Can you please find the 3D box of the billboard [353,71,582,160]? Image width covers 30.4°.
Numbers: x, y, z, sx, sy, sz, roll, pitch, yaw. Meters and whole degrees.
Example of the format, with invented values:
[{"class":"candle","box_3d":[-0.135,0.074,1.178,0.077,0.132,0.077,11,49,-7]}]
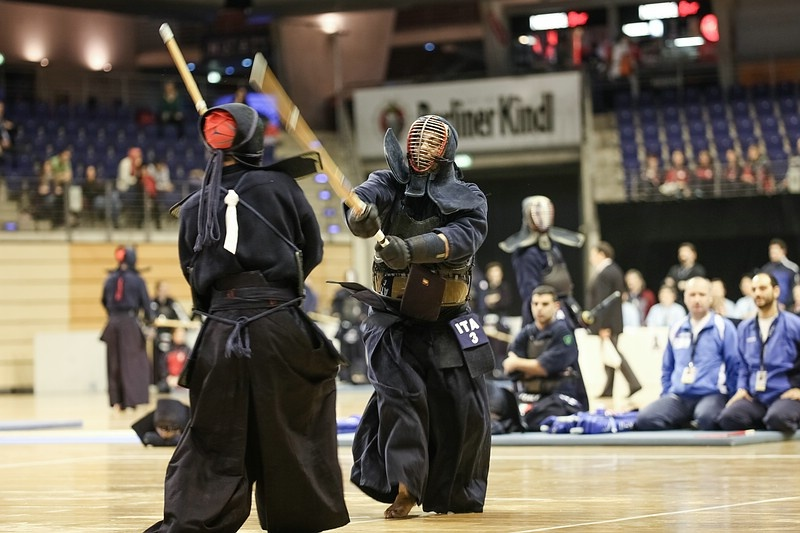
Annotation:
[{"class":"billboard","box_3d":[1.804,-3.026,30.769,5.295,1.500,1.495,0,4,32]}]
